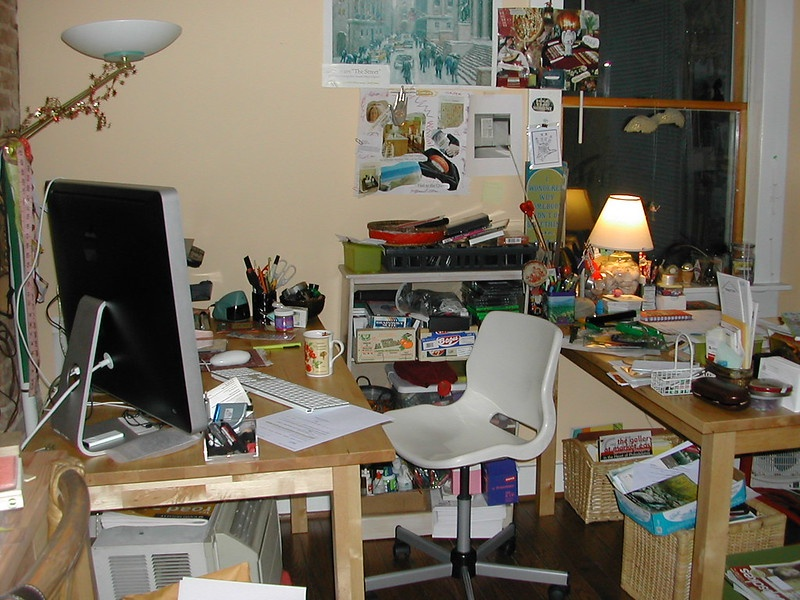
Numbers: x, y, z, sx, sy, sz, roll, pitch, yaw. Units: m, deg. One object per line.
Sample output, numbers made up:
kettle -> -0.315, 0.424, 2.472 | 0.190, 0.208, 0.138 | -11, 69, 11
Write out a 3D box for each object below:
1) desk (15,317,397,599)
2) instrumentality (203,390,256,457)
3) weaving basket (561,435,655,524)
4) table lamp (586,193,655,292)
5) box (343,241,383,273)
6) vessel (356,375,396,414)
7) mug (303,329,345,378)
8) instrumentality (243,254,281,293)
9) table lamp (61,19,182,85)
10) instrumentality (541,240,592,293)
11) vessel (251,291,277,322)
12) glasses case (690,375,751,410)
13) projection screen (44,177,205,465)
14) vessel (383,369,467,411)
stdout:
desk -> -0.439, 0.489, 2.168 | 0.974, 0.617, 0.784 | 0, 8, 0
instrumentality -> -0.468, 0.359, 1.843 | 0.138, 0.142, 0.072 | -7, 9, -17
weaving basket -> 0.963, 0.857, 3.185 | 0.312, 0.343, 0.382 | 0, 7, -2
table lamp -> 1.042, -0.258, 3.218 | 0.277, 0.489, 0.297 | -4, 8, 7
box -> -0.162, -0.187, 2.967 | 0.147, 0.110, 0.147 | -3, 10, -28
vessel -> -0.109, 0.421, 3.098 | 0.181, 0.178, 0.151 | -2, 18, -3
mug -> -0.279, 0.183, 2.427 | 0.174, 0.170, 0.117 | 2, 11, 2
instrumentality -> -0.622, -0.130, 2.986 | 0.149, 0.187, 0.050 | 2, -35, -33
table lamp -> -1.007, -0.935, 2.447 | 0.405, 0.146, 0.158 | -7, 9, -17
instrumentality -> 0.812, -0.146, 3.218 | 0.226, 0.251, 0.466 | -2, 9, 17
vessel -> -0.581, 0.031, 2.919 | 0.114, 0.133, 0.121 | 1, 3, -9
glasses case -> 1.081, 0.311, 2.261 | 0.180, 0.090, 0.125 | -1, 9, 24
projection screen -> -0.756, 0.044, 1.843 | 0.559, 0.776, 0.218 | -2, 9, 18
vessel -> 0.115, 0.402, 3.009 | 0.232, 0.106, 0.172 | -1, 7, -14
